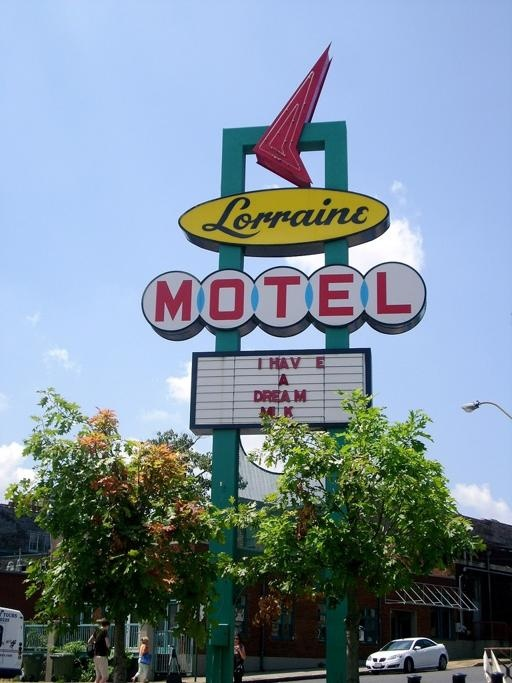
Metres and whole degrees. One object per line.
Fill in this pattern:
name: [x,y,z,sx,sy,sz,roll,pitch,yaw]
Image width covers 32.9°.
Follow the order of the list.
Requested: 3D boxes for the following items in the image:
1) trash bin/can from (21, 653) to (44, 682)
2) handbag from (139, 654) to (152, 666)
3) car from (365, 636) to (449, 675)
trash bin/can: [-6.856,9.879,26.652,0.766,0.752,0.778,-3,-6,28]
handbag: [-2.773,7.964,21.800,0.277,0.267,0.474,3,-18,-9]
car: [5.344,10.949,30.285,2.929,0.963,1.311,21,-32,-37]
